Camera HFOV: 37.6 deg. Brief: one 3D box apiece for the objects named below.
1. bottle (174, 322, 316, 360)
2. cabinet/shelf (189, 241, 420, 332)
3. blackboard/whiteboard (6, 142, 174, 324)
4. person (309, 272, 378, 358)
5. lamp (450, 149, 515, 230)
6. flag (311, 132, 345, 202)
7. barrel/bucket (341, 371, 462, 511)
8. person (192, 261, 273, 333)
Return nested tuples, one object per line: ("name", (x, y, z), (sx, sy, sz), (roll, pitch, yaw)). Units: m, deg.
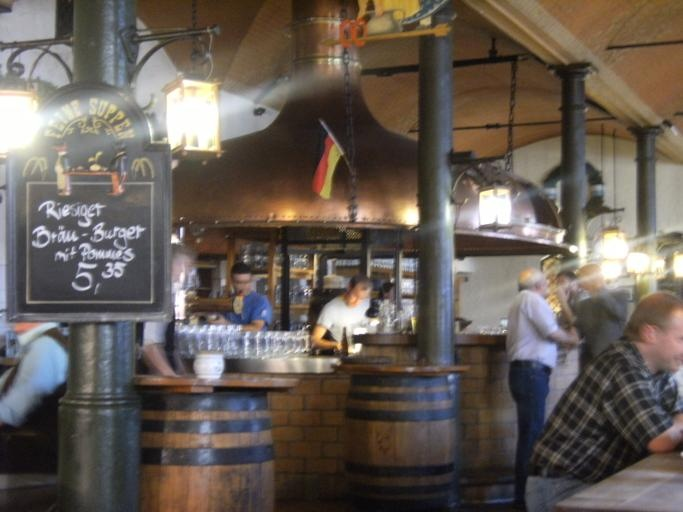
("bottle", (-0.834, 0.711, 8.374), (1.117, 0.276, 0.195), (-1, -3, 10))
("cabinet/shelf", (-0.142, 0.283, 10.755), (2.364, 1.300, 1.188), (0, -2, -8))
("blackboard/whiteboard", (-1.517, -0.117, 5.952), (1.112, 1.141, 0.121), (-1, -5, -2))
("person", (-0.006, 0.535, 9.456), (0.554, 0.715, 0.496), (0, -3, 0))
("lamp", (1.272, -0.579, 9.210), (0.431, 0.774, 0.835), (-6, -6, 33))
("flag", (-0.126, -0.852, 9.508), (0.213, 0.659, 0.431), (-1, -4, 19))
("barrel/bucket", (0.327, 1.373, 7.786), (0.986, 1.033, 0.979), (1, -7, 0))
("person", (-0.879, 0.382, 9.186), (0.563, 0.851, 0.616), (-2, -3, 19))
